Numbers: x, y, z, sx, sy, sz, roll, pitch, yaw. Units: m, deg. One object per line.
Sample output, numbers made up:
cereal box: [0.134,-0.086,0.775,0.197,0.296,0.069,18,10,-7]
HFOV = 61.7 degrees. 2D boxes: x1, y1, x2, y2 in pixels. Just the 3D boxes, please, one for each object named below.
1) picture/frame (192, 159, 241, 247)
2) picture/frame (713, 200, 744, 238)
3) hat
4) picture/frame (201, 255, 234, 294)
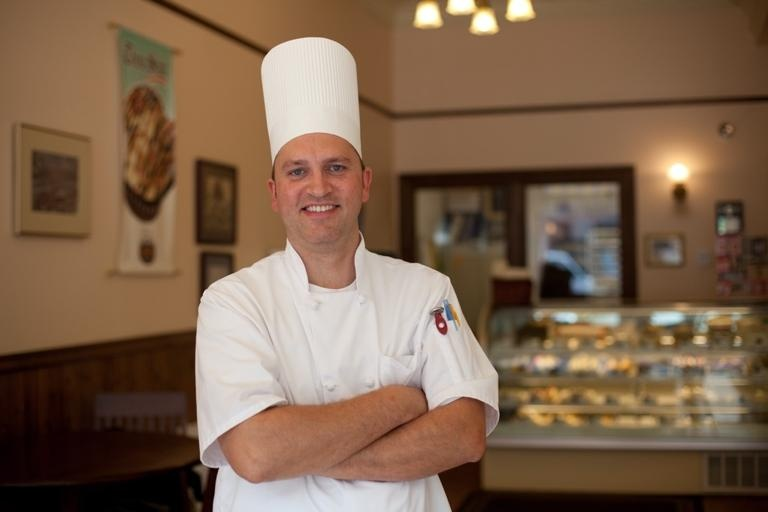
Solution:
picture/frame: [-0.852,-0.266,3.206,0.035,0.518,0.450,1,0,21]
picture/frame: [1.439,-0.157,2.663,0.150,0.212,0.021,0,3,3]
hat: [-0.231,-0.522,2.341,0.362,0.327,0.429,-9,-28,2]
picture/frame: [-0.748,0.081,2.837,0.017,0.236,0.193,-2,-1,26]
